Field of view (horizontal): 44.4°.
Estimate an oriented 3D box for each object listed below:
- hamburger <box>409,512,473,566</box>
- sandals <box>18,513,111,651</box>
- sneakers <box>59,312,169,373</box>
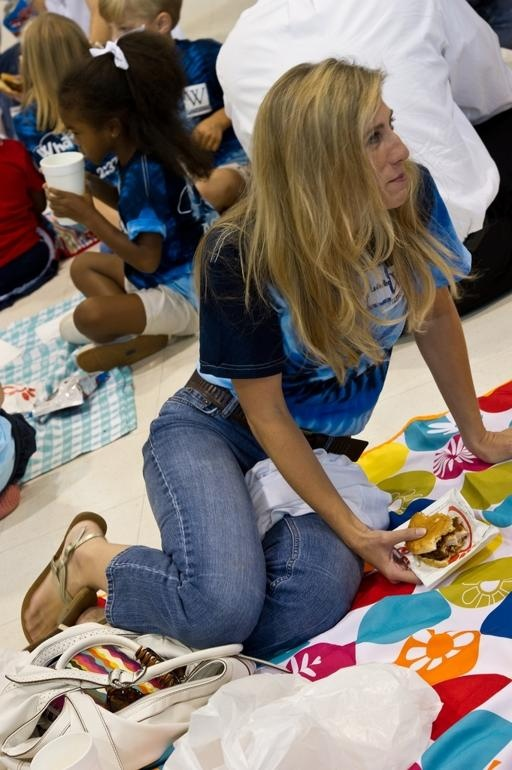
[{"bbox_3d":[0.268,0.226,0.929,0.092,0.047,0.087,-10,21,21],"label":"hamburger"},{"bbox_3d":[-0.382,0.433,1.287,0.095,0.344,0.138,-9,42,-48],"label":"sandals"},{"bbox_3d":[-0.470,-0.112,2.262,0.473,0.156,0.180,8,29,-42],"label":"sneakers"}]
